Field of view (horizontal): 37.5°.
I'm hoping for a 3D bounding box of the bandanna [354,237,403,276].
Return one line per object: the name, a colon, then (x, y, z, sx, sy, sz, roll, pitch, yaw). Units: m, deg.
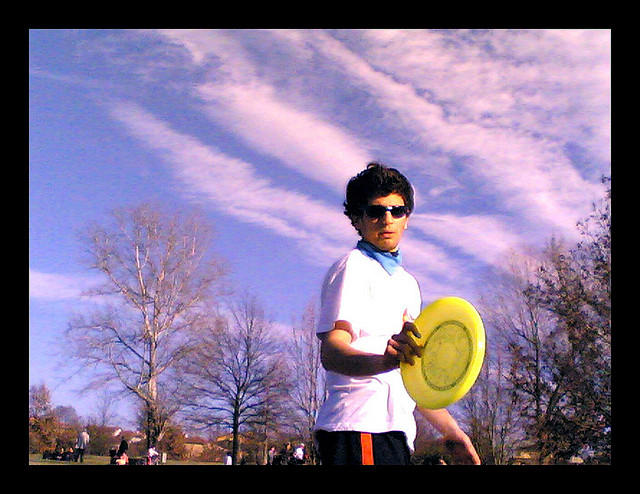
bandanna: (0.405, 0.068, 6.498, 0.291, 0.295, 0.177, -2, -11, 4)
